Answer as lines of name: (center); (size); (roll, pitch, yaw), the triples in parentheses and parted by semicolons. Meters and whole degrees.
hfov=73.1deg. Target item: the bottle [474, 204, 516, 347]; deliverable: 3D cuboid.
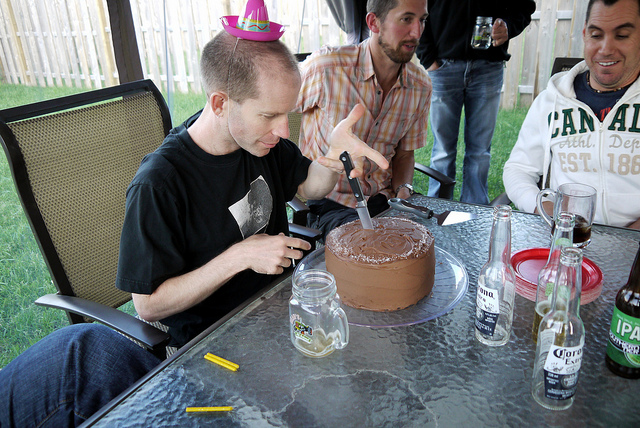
bottle: (0.619, 0.190, 1.472); (0.131, 0.455, 0.248); (11, 29, 26)

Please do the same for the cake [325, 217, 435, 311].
cake: (0.246, 0.190, 1.800); (0.439, 0.246, 0.464); (3, 21, 21)

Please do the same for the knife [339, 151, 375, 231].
knife: (0.150, -0.097, 1.816); (0.071, 0.027, 0.520); (-12, 72, -4)

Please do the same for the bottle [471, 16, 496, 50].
bottle: (1.304, -1.535, 3.605); (0.166, 0.272, 0.252); (5, 23, 8)

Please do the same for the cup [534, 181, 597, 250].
cup: (1.069, -0.006, 1.895); (0.225, 0.248, 0.148); (11, 25, 32)

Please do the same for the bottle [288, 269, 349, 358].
bottle: (0.010, 0.359, 1.488); (0.210, 0.250, 0.136); (10, 15, 40)

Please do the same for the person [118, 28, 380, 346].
person: (-0.360, -0.066, 2.001); (0.946, 1.715, 1.022); (-14, 34, -31)
